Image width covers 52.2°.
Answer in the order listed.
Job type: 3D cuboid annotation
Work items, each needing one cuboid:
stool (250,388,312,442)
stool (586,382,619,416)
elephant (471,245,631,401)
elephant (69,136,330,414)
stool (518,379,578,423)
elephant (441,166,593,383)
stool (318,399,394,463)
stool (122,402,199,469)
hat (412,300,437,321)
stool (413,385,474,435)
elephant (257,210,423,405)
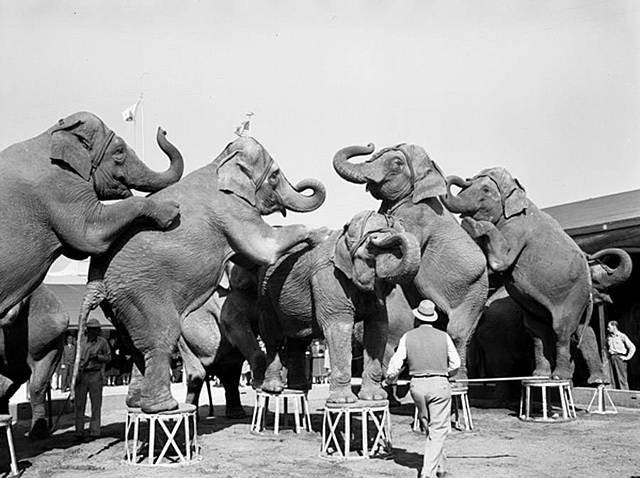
[{"bbox_3d":[-0.565,2.735,10.258,0.768,0.561,0.824,5,-10,-9],"label":"stool"},{"bbox_3d":[4.926,2.868,11.524,0.512,0.646,0.554,-1,1,11],"label":"stool"},{"bbox_3d":[4.844,1.431,12.763,3.991,2.965,1.773,-9,7,-24],"label":"elephant"},{"bbox_3d":[-1.435,0.309,9.119,3.861,3.203,1.347,-16,20,-35],"label":"elephant"},{"bbox_3d":[3.604,2.651,10.534,0.759,0.587,0.800,1,-7,-14],"label":"stool"},{"bbox_3d":[3.075,0.631,10.982,3.391,2.986,1.108,21,-18,-18],"label":"elephant"},{"bbox_3d":[0.456,2.449,8.300,0.832,0.717,0.871,1,-12,-16],"label":"stool"},{"bbox_3d":[-2.017,2.483,8.206,0.767,0.603,0.845,2,-10,2],"label":"stool"},{"bbox_3d":[1.182,0.815,7.479,0.214,0.111,0.262,1,23,-7],"label":"hat"},{"bbox_3d":[1.937,2.560,9.723,0.570,0.682,0.679,5,-10,23],"label":"stool"},{"bbox_3d":[0.208,1.007,9.164,2.824,2.570,1.150,-10,-9,42],"label":"elephant"}]
